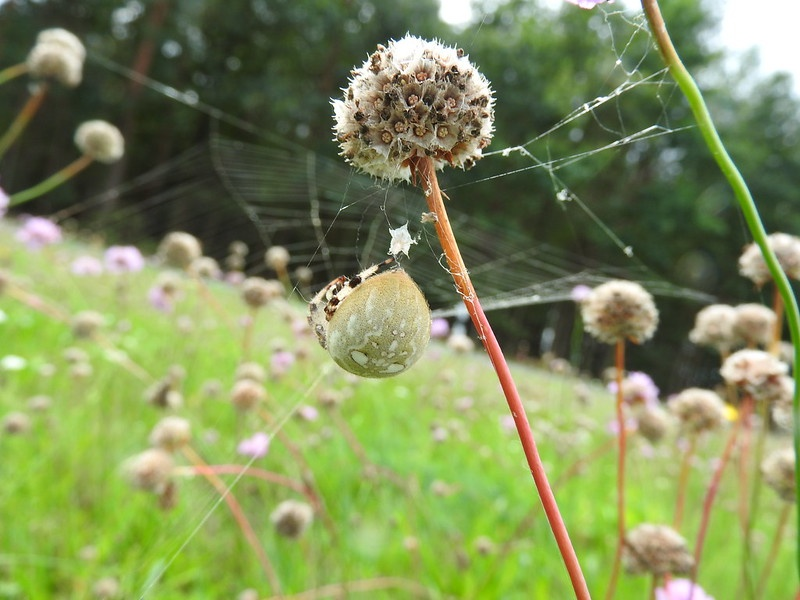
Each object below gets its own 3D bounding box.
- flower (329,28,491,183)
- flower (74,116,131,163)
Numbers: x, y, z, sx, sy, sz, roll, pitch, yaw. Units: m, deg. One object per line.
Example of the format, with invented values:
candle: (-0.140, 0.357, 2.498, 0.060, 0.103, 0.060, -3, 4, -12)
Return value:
flower: (0.054, -0.918, 4.390, 0.712, 0.842, 0.752, 3, 5, 37)
flower: (-2.115, -1.088, 5.753, 0.298, 0.326, 0.097, -7, -13, -25)
